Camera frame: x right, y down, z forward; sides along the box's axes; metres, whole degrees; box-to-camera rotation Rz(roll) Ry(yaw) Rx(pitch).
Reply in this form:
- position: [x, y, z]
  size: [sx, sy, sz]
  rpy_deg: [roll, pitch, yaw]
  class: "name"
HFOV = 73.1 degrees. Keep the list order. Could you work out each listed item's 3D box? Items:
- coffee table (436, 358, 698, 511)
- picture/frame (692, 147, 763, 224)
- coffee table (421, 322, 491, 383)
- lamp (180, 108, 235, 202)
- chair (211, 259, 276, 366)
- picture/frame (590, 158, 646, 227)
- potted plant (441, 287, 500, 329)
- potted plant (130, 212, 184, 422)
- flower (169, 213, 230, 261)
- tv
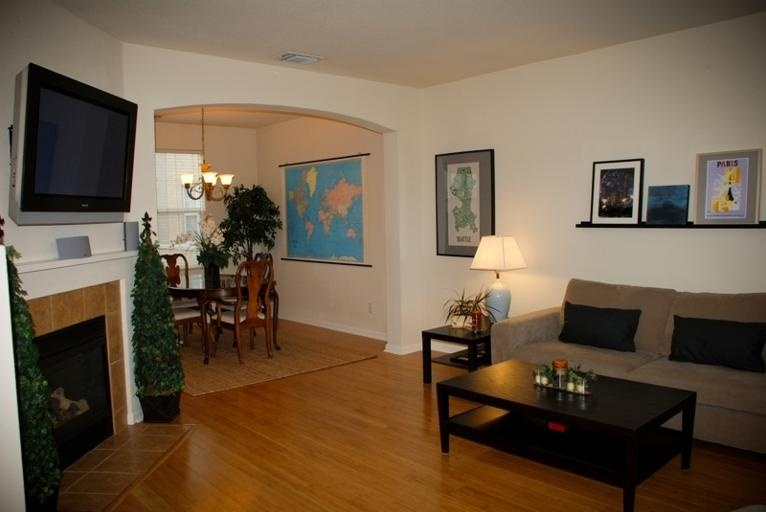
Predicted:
- position: [1.542, 1.259, 3.961]
  size: [0.988, 0.527, 1.463]
  rpy_deg: [-15, 17, -42]
  class: "coffee table"
- position: [3.226, -0.656, 4.794]
  size: [0.717, 1.000, 0.040]
  rpy_deg: [2, 1, 39]
  class: "picture/frame"
- position: [0.888, 1.017, 5.814]
  size: [0.622, 0.487, 0.659]
  rpy_deg: [4, 5, 43]
  class: "coffee table"
- position: [-2.722, -1.566, 7.857]
  size: [0.813, 1.416, 0.811]
  rpy_deg: [-5, -8, -4]
  class: "lamp"
- position: [-1.896, 0.649, 7.025]
  size: [0.792, 1.346, 1.421]
  rpy_deg: [-3, 8, -13]
  class: "chair"
- position: [2.459, -0.664, 5.367]
  size: [0.068, 0.982, 0.704]
  rpy_deg: [3, 0, -43]
  class: "picture/frame"
- position: [0.994, 0.628, 6.073]
  size: [0.496, 0.337, 0.490]
  rpy_deg: [-3, 5, -43]
  class: "potted plant"
- position: [-2.147, 0.640, 4.842]
  size: [0.409, 1.890, 0.280]
  rpy_deg: [-5, 9, -27]
  class: "potted plant"
- position: [-2.887, -0.278, 8.004]
  size: [0.664, 0.990, 0.946]
  rpy_deg: [-6, 10, -37]
  class: "flower"
- position: [-2.466, -0.875, 4.053]
  size: [0.421, 1.303, 1.414]
  rpy_deg: [5, 6, 11]
  class: "tv"
